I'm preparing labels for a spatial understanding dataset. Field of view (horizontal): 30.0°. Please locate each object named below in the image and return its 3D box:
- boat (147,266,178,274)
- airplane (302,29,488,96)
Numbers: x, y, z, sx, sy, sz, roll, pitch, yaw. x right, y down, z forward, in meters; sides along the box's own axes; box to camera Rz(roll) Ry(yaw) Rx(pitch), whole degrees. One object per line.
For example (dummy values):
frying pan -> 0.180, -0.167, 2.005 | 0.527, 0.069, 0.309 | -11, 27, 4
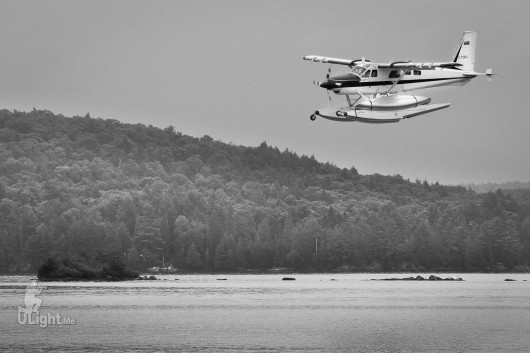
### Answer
boat -> -27.528, 25.230, 265.109 | 7.290, 1.199, 6.247 | 2, 4, 10
airplane -> 18.964, -14.150, 140.195 | 19.715, 5.718, 22.535 | -3, 4, -10
